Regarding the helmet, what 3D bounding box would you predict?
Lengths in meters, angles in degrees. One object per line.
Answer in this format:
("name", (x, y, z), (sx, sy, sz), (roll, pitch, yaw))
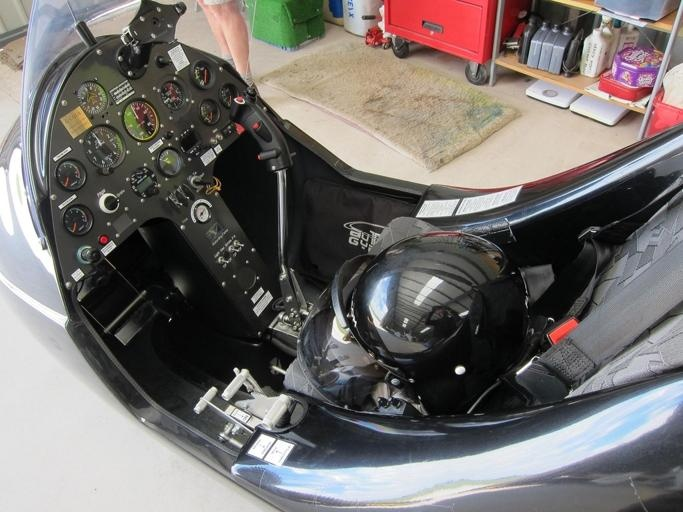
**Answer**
("helmet", (0.161, 0.111, 1.089), (0.508, 0.288, 0.396), (-18, 33, 8))
